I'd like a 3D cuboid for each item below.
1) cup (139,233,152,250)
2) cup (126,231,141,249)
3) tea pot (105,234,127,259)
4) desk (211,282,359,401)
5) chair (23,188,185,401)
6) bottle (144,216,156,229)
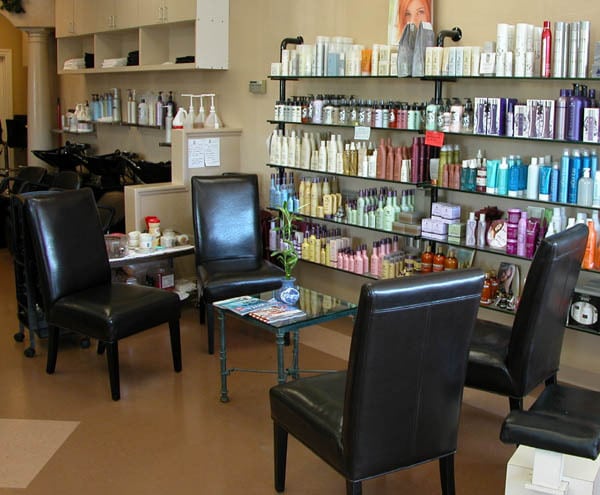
[{"bbox_3d":[-1.258,-0.057,4.277,0.107,0.120,0.086,-1,1,-42],"label":"cup"},{"bbox_3d":[-1.358,-0.069,4.289,0.097,0.140,0.125,0,1,-18],"label":"cup"},{"bbox_3d":[-1.439,-0.017,4.100,0.154,0.176,0.160,1,11,0],"label":"tea pot"},{"bbox_3d":[-0.088,0.496,3.255,0.755,0.823,0.720,11,15,43],"label":"desk"},{"bbox_3d":[-1.354,0.254,3.518,0.946,1.249,0.577,6,13,25],"label":"chair"},{"bbox_3d":[-1.267,-0.222,4.450,0.090,0.102,0.103,-2,2,-37],"label":"bottle"}]
